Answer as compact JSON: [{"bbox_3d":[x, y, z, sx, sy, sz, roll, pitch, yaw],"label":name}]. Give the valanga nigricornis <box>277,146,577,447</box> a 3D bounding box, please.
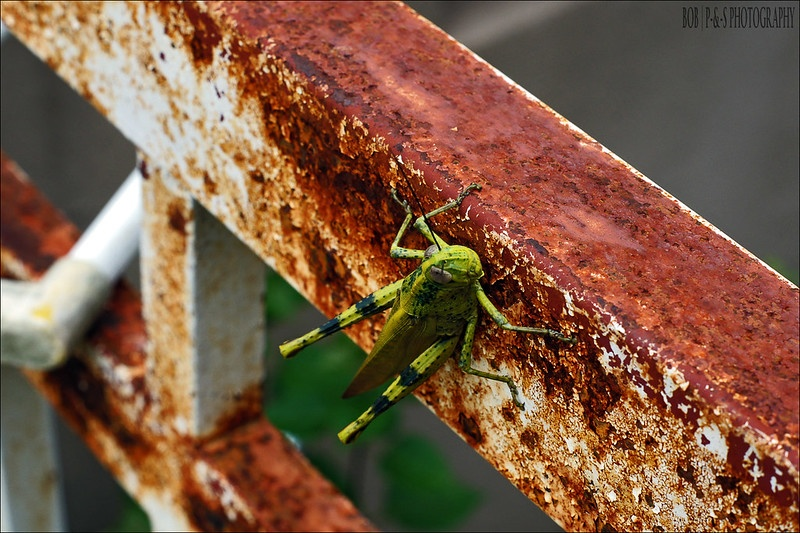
[{"bbox_3d":[0.010,0.101,1.667,0.553,0.159,0.513,-42,60,29],"label":"valanga nigricornis"}]
